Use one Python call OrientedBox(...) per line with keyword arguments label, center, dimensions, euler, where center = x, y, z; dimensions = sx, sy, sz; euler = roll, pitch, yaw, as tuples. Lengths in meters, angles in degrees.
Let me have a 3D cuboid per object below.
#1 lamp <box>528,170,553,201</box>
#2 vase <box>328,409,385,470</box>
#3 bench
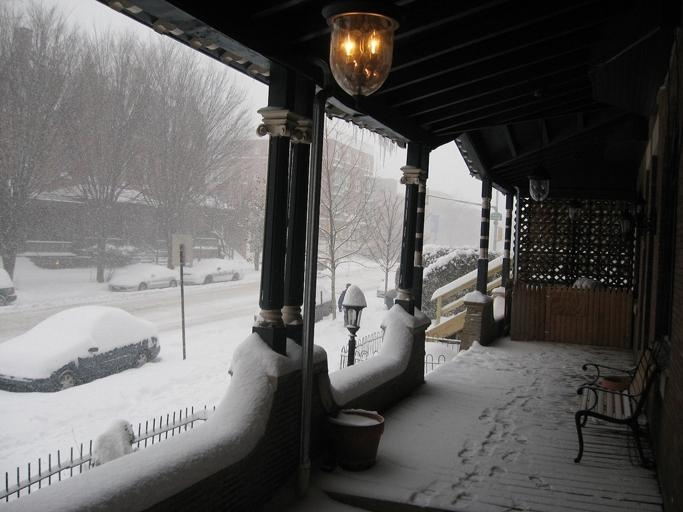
OrientedBox(label="lamp", center=(3.326, -1.218, 8.552), dimensions=(0.316, 0.532, 0.253), euler=(3, 4, 17))
OrientedBox(label="vase", center=(0.124, 1.563, 4.360), dimensions=(0.411, 0.325, 0.423), euler=(-1, -10, 15))
OrientedBox(label="bench", center=(2.868, 1.564, 5.306), dimensions=(0.492, 0.704, 1.003), euler=(0, -1, 24))
